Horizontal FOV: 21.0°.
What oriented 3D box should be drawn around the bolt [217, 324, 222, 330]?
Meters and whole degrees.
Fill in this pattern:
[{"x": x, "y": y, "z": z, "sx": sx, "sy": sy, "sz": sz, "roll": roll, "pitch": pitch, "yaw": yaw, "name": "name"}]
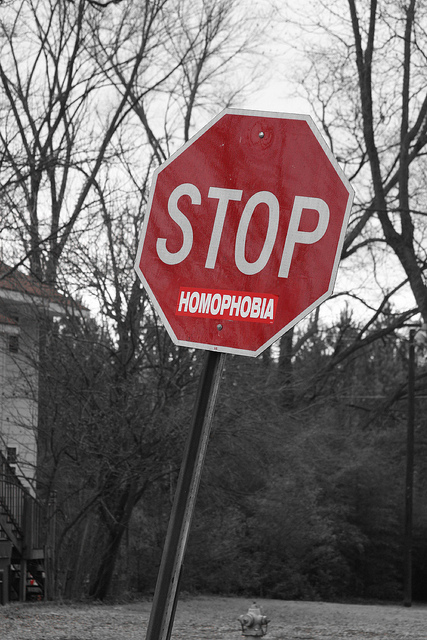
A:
[{"x": 0.040, "y": 0.051, "z": 7.393, "sx": 0.033, "sy": 0.035, "sz": 0.008, "roll": 5, "pitch": 1, "yaw": 6, "name": "bolt"}]
